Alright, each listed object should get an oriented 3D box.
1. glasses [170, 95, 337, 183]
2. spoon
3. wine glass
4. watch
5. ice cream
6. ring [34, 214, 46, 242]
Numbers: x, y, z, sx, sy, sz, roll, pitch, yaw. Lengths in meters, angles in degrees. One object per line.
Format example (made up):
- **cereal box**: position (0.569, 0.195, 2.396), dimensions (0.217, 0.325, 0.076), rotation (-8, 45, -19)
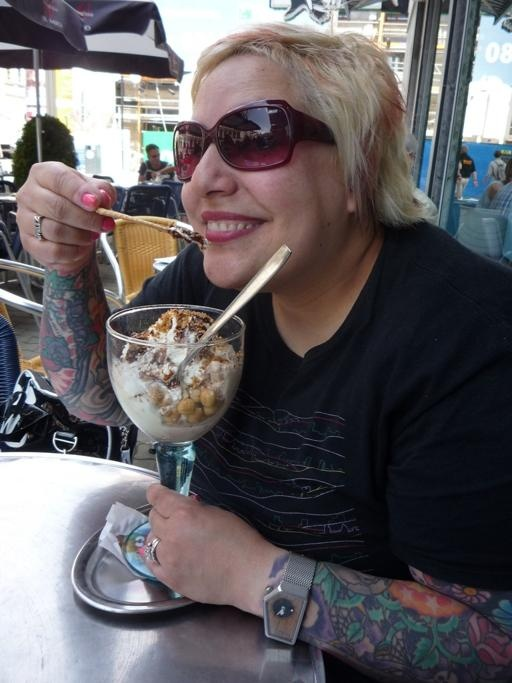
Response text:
- **glasses**: position (-0.044, -0.360, 0.996), dimensions (0.140, 0.138, 0.361), rotation (-11, 23, -42)
- **spoon**: position (-0.014, -0.056, 0.851), dimensions (0.131, 0.201, 0.248), rotation (10, 18, 18)
- **wine glass**: position (-0.132, 0.157, 0.969), dimensions (0.282, 0.395, 0.284), rotation (-3, 20, -16)
- **watch**: position (0.041, 0.356, 0.766), dimensions (0.098, 0.070, 0.087), rotation (5, 15, -25)
- **ice cream**: position (-0.125, 0.038, 0.905), dimensions (0.214, 0.183, 0.241), rotation (1, 9, -2)
- **ring**: position (-0.432, -0.231, 1.088), dimensions (0.015, 0.039, 0.026), rotation (0, 48, -15)
